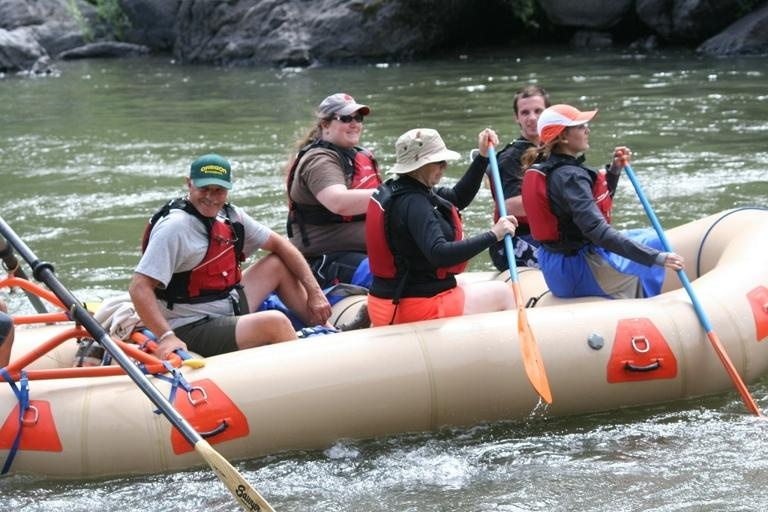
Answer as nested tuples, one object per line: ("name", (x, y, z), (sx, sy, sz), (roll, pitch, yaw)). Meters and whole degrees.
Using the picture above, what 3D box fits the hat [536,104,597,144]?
("hat", (1.335, -0.994, 6.214), (0.388, 0.190, 0.248), (-25, 9, 12))

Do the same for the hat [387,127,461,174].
("hat", (0.263, -0.716, 5.884), (0.359, 0.188, 0.352), (-17, 1, 36))

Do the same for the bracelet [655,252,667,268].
("bracelet", (1.898, 0.018, 5.829), (0.067, 0.088, 0.037), (2, 14, 10))

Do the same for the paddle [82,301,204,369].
("paddle", (-1.679, 0.453, 6.031), (0.717, 0.199, 0.447), (25, 12, 19))

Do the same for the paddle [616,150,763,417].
("paddle", (2.355, 0.244, 6.570), (0.095, 2.556, 0.178), (-32, -13, 25))

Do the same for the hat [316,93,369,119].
("hat", (-0.355, -1.185, 6.803), (0.331, 0.132, 0.218), (-5, 1, 21))

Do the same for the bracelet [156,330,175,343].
("bracelet", (-1.494, 0.543, 5.832), (0.088, 0.024, 0.089), (-32, -4, -33))

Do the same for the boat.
("boat", (-0.001, 0.753, 6.123), (4.179, 0.861, 2.145), (-11, 8, -5))

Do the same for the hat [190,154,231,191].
("hat", (-1.195, -0.571, 5.864), (0.283, 0.249, 0.165), (-8, 9, -14))

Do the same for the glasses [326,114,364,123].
("glasses", (-0.317, -1.094, 6.774), (0.143, 0.044, 0.128), (0, 5, 36))
